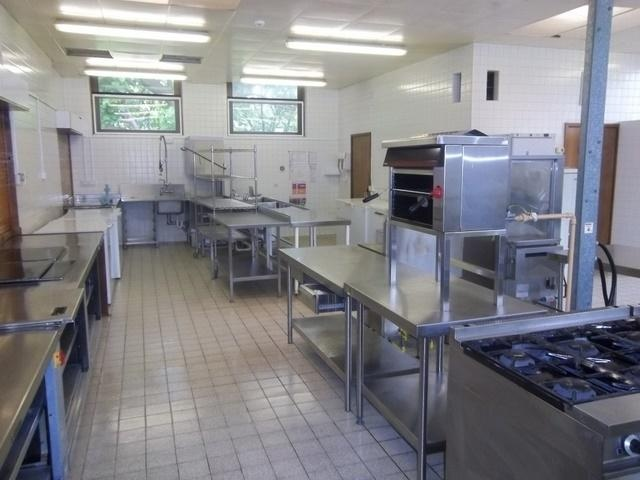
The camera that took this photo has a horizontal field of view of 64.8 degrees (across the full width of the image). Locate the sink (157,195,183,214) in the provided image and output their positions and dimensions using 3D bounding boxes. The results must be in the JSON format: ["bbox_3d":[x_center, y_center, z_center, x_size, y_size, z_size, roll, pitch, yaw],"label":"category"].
[{"bbox_3d":[-2.763,-0.620,9.374,0.472,0.337,0.438,-4,13,-15],"label":"sink"}]
